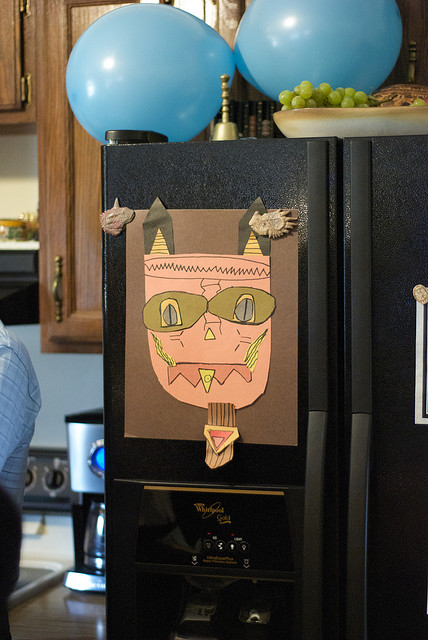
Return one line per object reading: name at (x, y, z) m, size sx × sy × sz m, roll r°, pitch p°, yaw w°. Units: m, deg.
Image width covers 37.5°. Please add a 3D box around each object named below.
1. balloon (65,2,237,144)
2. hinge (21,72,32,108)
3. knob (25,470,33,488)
balloon at (-0.108, -0.401, 1.148) m, size 0.278 × 0.235 × 0.228 m, roll -7°, pitch 1°, yaw -8°
hinge at (-0.452, -0.557, 1.518) m, size 0.026 × 0.076 × 0.014 m, roll 0°, pitch 3°, yaw 24°
knob at (-0.529, 0.453, 1.807) m, size 0.019 × 0.047 × 0.011 m, roll -3°, pitch 3°, yaw -15°
